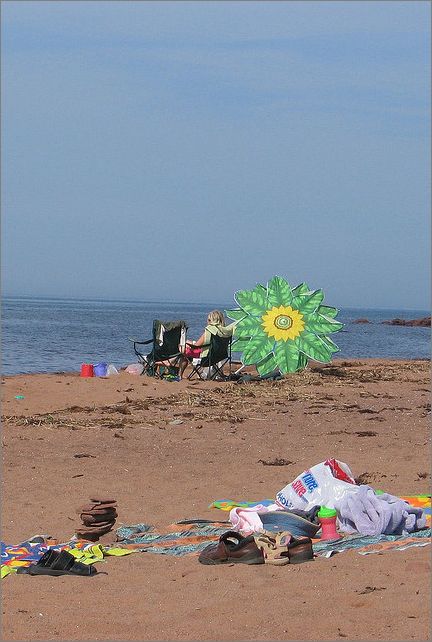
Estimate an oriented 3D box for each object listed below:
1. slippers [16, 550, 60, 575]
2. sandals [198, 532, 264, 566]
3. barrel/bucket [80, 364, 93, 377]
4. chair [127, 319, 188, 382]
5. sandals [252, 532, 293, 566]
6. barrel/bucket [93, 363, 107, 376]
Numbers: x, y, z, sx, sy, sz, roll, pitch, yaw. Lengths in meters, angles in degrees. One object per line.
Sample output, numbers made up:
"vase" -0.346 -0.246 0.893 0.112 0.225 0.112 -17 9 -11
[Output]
"slippers" -1.140 1.558 7.133 0.177 0.061 0.139 -3 -1 -32
"sandals" 0.117 1.478 7.191 0.362 0.149 0.201 -4 -11 25
"barrel/bucket" -2.121 0.826 18.008 0.223 0.236 0.222 0 8 0
"chair" -0.911 0.467 17.400 0.874 0.990 0.952 2 4 0
"sandals" 0.371 1.457 7.113 0.113 0.136 0.326 0 -4 -11
"barrel/bucket" -1.932 0.814 18.348 0.214 0.253 0.086 0 -18 3
